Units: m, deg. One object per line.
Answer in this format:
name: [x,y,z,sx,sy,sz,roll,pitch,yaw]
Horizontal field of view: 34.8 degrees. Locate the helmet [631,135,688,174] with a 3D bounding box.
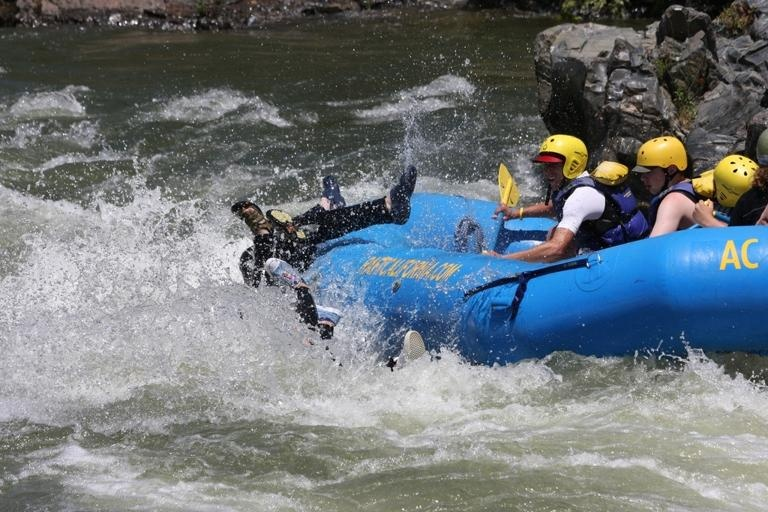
helmet: [3.480,-1.285,15.427,0.634,0.288,0.412,0,5,-3]

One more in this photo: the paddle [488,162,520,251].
paddle: [1.651,-0.797,16.853,0.448,0.175,1.262,30,43,-16]

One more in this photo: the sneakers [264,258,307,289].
sneakers: [-1.292,0.257,16.026,0.583,0.273,0.210,33,-19,4]

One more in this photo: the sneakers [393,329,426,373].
sneakers: [0.373,1.162,15.254,0.232,0.563,0.242,26,8,-26]

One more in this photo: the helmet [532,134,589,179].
helmet: [2.368,-1.336,15.810,0.728,0.464,0.493,-14,20,-10]
